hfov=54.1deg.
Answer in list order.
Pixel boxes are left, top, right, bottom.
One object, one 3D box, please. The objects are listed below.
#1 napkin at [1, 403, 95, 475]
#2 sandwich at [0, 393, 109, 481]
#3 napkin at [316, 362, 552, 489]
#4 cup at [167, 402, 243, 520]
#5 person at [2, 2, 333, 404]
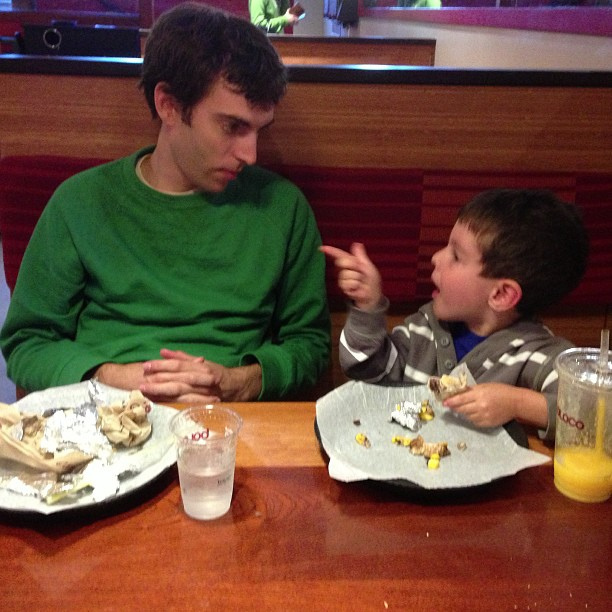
[{"bbox_3d":[-0.328,0.143,0.753,0.108,0.041,0.082,30,15,23],"label":"napkin"},{"bbox_3d":[-0.344,0.150,0.780,0.118,0.038,0.093,21,11,37],"label":"sandwich"},{"bbox_3d":[0.179,0.181,0.876,0.331,0.053,0.267,-5,26,-10],"label":"napkin"},{"bbox_3d":[-0.132,0.190,0.762,0.110,0.138,0.102,4,15,-1],"label":"cup"},{"bbox_3d":[-0.314,-0.184,1.226,0.721,0.778,0.491,1,24,2],"label":"person"}]
